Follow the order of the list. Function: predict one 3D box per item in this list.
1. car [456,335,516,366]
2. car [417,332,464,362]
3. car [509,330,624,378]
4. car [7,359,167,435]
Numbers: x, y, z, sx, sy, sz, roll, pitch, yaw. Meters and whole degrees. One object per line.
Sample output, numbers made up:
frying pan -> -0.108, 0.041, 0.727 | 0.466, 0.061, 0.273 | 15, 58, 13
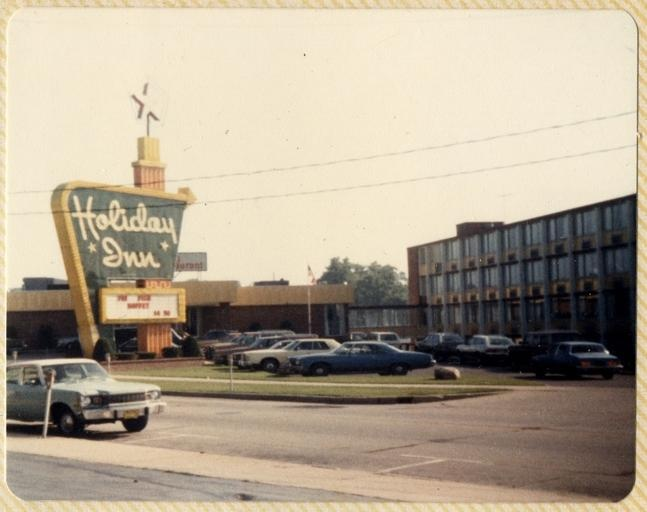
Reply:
car -> 7.240, 4.122, 52.072 | 1.007, 0.918, 2.309 | 1, 0, -19
car -> 5.834, 4.405, 57.955 | 1.044, 1.009, 2.274 | 1, 1, -21
car -> 8.627, 3.512, 42.607 | 1.528, 1.270, 3.769 | 3, -3, -18
car -> -6.510, 3.612, 30.628 | 3.970, 1.969, 1.747 | -4, -5, 11
